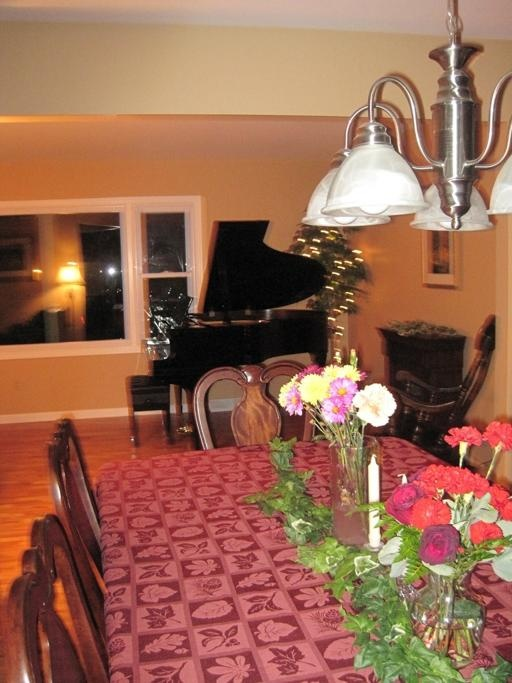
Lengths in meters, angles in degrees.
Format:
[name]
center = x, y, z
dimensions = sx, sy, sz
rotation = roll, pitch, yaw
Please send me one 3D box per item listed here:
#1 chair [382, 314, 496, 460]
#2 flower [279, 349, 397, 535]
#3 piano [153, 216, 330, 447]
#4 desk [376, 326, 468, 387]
[chair]
center = 1.140, 0.302, 3.905
dimensions = 0.715, 0.869, 0.667
rotation = 15, 15, 39
[flower]
center = 0.170, 0.229, 1.171
dimensions = 0.226, 0.302, 0.201
rotation = -3, -1, -8
[piano]
center = -0.166, -0.209, 4.372
dimensions = 1.595, 1.258, 1.156
rotation = -7, 12, -29
[desk]
center = 1.187, 0.203, 4.384
dimensions = 0.290, 0.580, 0.746
rotation = -7, 11, -16
